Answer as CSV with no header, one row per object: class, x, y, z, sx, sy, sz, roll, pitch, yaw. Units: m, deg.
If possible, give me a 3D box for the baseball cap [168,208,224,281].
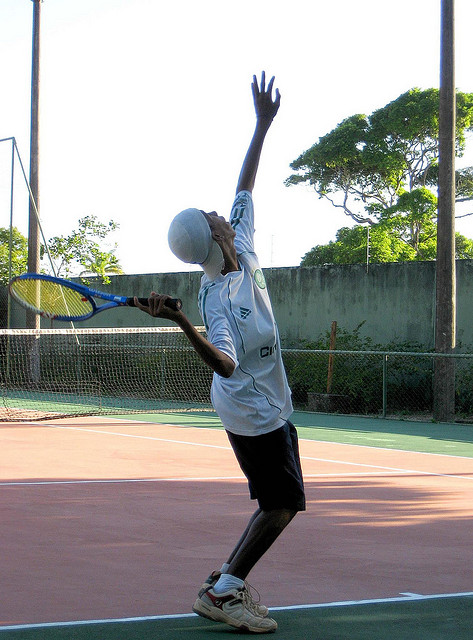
baseball cap,-0.168,-0.293,3.580,0.168,0.268,0.340,0,-2,20
